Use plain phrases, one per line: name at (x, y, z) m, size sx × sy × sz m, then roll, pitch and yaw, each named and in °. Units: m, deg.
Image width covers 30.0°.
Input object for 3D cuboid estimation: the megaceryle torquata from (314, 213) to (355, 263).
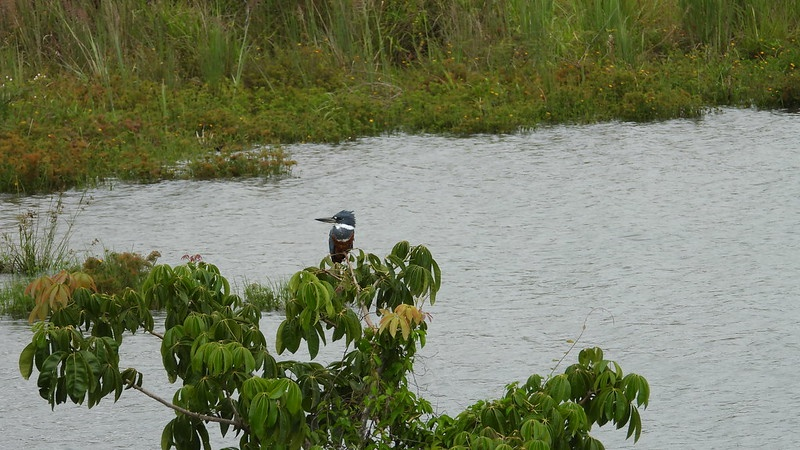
megaceryle torquata at (-0.676, 0.251, 22.378) m, size 0.450 × 0.813 × 1.265 m, roll -5°, pitch 6°, yaw -2°
